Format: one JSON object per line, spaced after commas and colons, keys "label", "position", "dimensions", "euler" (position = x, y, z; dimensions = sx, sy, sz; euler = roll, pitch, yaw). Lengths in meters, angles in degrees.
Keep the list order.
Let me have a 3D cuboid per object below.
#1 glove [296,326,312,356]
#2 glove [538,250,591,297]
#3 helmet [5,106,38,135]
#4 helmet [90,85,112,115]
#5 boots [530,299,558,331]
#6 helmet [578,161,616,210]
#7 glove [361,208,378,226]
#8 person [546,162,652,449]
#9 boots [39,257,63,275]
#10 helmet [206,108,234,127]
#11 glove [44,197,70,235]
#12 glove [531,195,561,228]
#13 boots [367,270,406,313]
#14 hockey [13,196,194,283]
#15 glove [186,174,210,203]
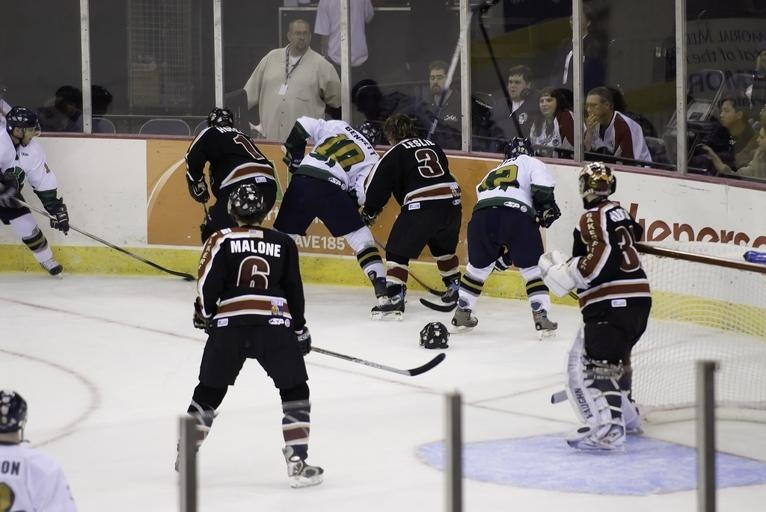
{"label": "glove", "position": [-0.415, 0.459, 5.627], "dimensions": [0.047, 0.130, 0.098], "euler": [2, 11, 27]}
{"label": "glove", "position": [0.997, 0.097, 5.970], "dimensions": [0.139, 0.296, 0.174], "euler": [-41, -38, 12]}
{"label": "helmet", "position": [-3.121, -1.160, 9.198], "dimensions": [0.260, 0.241, 0.193], "euler": [-1, 14, -12]}
{"label": "helmet", "position": [-2.561, -1.411, 9.641], "dimensions": [0.197, 0.207, 0.245], "euler": [0, 0, -18]}
{"label": "boots", "position": [1.143, 0.448, 7.708], "dimensions": [0.107, 0.200, 0.297], "euler": [-8, -2, 28]}
{"label": "helmet", "position": [1.217, -0.401, 6.123], "dimensions": [0.219, 0.279, 0.288], "euler": [-7, 0, -14]}
{"label": "glove", "position": [-0.125, -0.307, 8.394], "dimensions": [0.130, 0.107, 0.118], "euler": [2, 2, -43]}
{"label": "person", "position": [1.135, 0.198, 5.663], "dimensions": [0.576, 1.393, 1.036], "euler": [-1, 4, 8]}
{"label": "boots", "position": [-2.981, 0.068, 9.523], "dimensions": [0.106, 0.120, 0.284], "euler": [-39, 31, -22]}
{"label": "helmet", "position": [-1.257, -1.081, 8.297], "dimensions": [0.177, 0.201, 0.204], "euler": [4, -7, -19]}
{"label": "glove", "position": [-2.841, -0.359, 9.251], "dimensions": [0.248, 0.305, 0.134], "euler": [-12, -9, -18]}
{"label": "glove", "position": [1.183, -0.316, 7.755], "dimensions": [0.162, 0.194, 0.095], "euler": [0, 20, 6]}
{"label": "boots", "position": [0.032, 0.293, 8.171], "dimensions": [0.255, 0.323, 0.142], "euler": [-1, 4, 6]}
{"label": "hockey", "position": [-2.452, -0.164, 9.541], "dimensions": [1.590, 0.219, 0.071], "euler": [26, 27, -32]}
{"label": "glove", "position": [-1.437, -0.511, 8.252], "dimensions": [0.143, 0.197, 0.186], "euler": [-27, -29, -21]}
